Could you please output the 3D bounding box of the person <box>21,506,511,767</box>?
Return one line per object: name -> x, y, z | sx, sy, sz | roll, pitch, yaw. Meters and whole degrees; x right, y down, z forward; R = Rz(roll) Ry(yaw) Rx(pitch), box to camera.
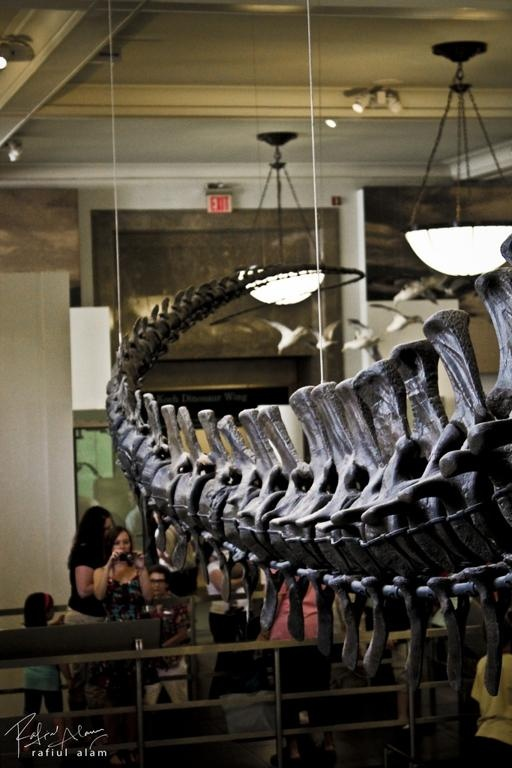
person -> -0.414, 1.073, 4.963 | 0.827, 1.001, 2.199 | 1, -6, -31
